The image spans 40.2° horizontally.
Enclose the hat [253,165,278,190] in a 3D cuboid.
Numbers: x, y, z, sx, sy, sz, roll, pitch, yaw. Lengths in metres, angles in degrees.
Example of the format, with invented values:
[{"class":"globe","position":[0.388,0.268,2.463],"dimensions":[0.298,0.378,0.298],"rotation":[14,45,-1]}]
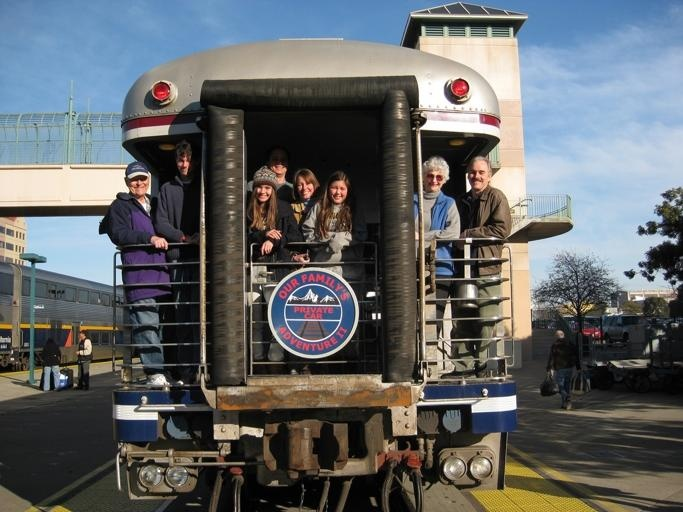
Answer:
[{"class":"hat","position":[-1.020,-1.056,12.538],"dimensions":[0.272,0.296,0.300],"rotation":[1,-11,-6]}]

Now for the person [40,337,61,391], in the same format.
[{"class":"person","position":[-8.415,3.144,26.953],"dimensions":[0.520,1.518,0.896],"rotation":[0,-5,-18]}]

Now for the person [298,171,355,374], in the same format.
[{"class":"person","position":[-0.108,0.065,12.585],"dimensions":[0.789,2.338,0.738],"rotation":[0,16,-2]}]

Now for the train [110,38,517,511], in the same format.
[{"class":"train","position":[-0.447,0.259,12.515],"dimensions":[4.822,6.479,2.117],"rotation":[-2,-5,-2]}]

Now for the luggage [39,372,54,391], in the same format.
[{"class":"luggage","position":[-8.560,3.684,27.097],"dimensions":[0.465,0.620,0.339],"rotation":[6,-9,-43]}]
